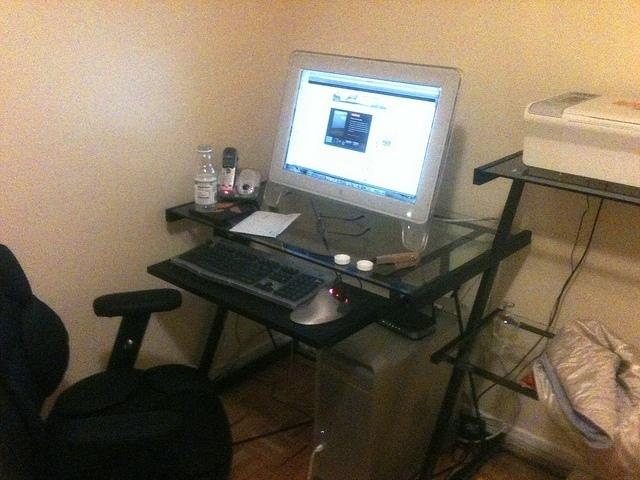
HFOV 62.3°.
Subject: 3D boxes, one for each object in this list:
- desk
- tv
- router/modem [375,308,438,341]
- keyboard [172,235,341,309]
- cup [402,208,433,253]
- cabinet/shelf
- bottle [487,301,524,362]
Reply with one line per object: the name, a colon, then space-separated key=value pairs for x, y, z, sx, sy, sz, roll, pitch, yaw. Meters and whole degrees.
desk: x=0.150 y=0.105 z=1.846 sx=1.073 sy=0.687 sz=1.055 roll=20 pitch=34 yaw=31
tv: x=0.164 y=-0.291 z=1.792 sx=0.612 sy=0.527 sz=0.237 roll=20 pitch=39 yaw=26
router/modem: x=0.316 y=0.284 z=1.833 sx=0.150 sy=0.054 sz=0.170 roll=22 pitch=31 yaw=38
keyboard: x=-0.199 y=0.106 z=1.771 sx=0.483 sy=0.067 sz=0.201 roll=18 pitch=39 yaw=29
cup: x=0.306 y=-0.022 z=1.738 sx=0.084 sy=0.115 sz=0.036 roll=7 pitch=12 yaw=30
cabinet/shelf: x=0.620 y=0.323 z=1.760 sx=0.428 sy=1.175 sz=0.517 roll=12 pitch=24 yaw=15
bottle: x=0.628 y=0.306 z=1.803 sx=0.072 sy=0.083 sz=0.231 roll=12 pitch=28 yaw=16
